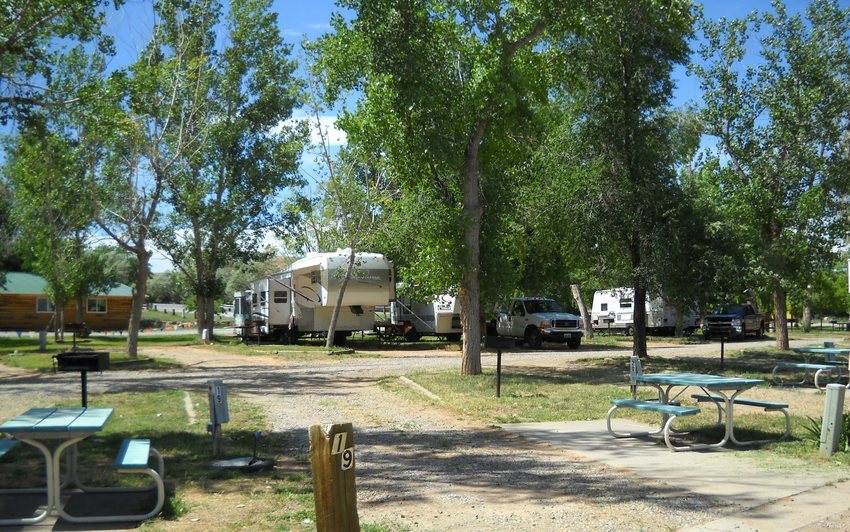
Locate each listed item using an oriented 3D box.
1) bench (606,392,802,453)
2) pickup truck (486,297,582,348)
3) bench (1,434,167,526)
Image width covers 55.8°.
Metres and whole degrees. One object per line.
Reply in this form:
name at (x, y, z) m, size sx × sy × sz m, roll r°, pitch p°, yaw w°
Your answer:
bench at (6.755, 3.764, 19.803) m, size 2.923 × 0.967 × 2.052 m, roll 5°, pitch -9°, yaw -24°
pickup truck at (5.312, 2.730, 38.809) m, size 2.477 × 1.973 × 4.420 m, roll 2°, pitch -6°, yaw -24°
bench at (-6.630, 4.456, 16.860) m, size 2.184 × 1.181 × 2.161 m, roll 0°, pitch -1°, yaw -10°
